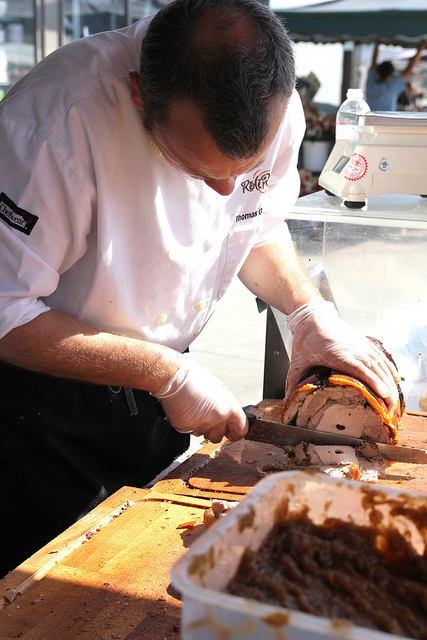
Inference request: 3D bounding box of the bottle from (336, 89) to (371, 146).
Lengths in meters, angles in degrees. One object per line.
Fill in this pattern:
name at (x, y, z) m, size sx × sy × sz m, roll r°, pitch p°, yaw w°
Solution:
bottle at (0.665, -0.979, 2.858) m, size 0.218 × 0.233 × 0.205 m, roll -11°, pitch 18°, yaw -22°
